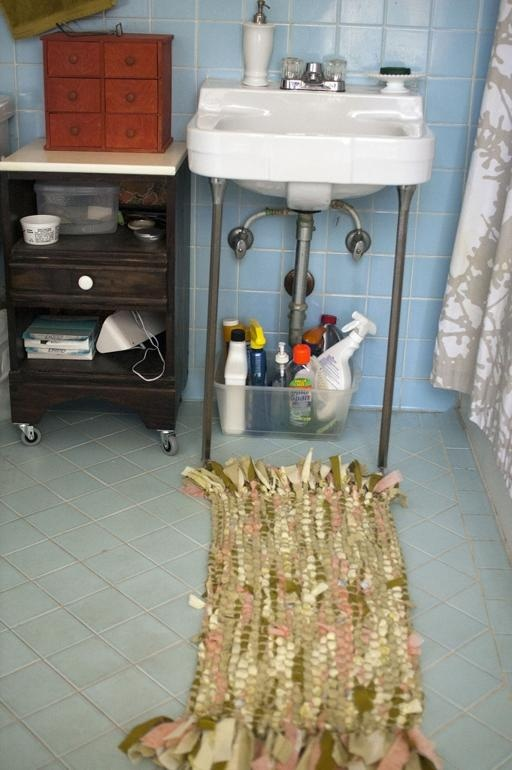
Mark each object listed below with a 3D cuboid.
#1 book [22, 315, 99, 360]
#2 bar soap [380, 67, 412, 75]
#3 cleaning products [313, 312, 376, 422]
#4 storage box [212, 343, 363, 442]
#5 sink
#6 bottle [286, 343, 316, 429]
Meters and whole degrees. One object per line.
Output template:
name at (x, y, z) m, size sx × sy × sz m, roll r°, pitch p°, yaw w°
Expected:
book at (-0.519, -0.132, 1.660) m, size 0.133 × 0.049 × 0.133 m, roll 1°, pitch 27°, yaw -1°
bar soap at (0.335, -0.762, 1.506) m, size 0.068 × 0.021 × 0.048 m, roll 4°, pitch 27°, yaw 6°
cleaning products at (0.233, -0.058, 1.689) m, size 0.139 × 0.285 × 0.242 m, roll 12°, pitch 28°, yaw 22°
storage box at (0.070, 0.030, 1.669) m, size 0.313 × 0.132 × 0.210 m, roll 0°, pitch 22°, yaw -1°
sink at (0.127, -0.552, 1.443) m, size 0.540 × 0.302 × 0.490 m, roll 2°, pitch 26°, yaw 1°
bottle at (0.119, 0.010, 1.650) m, size 0.067 × 0.244 × 0.075 m, roll 2°, pitch 26°, yaw 2°
